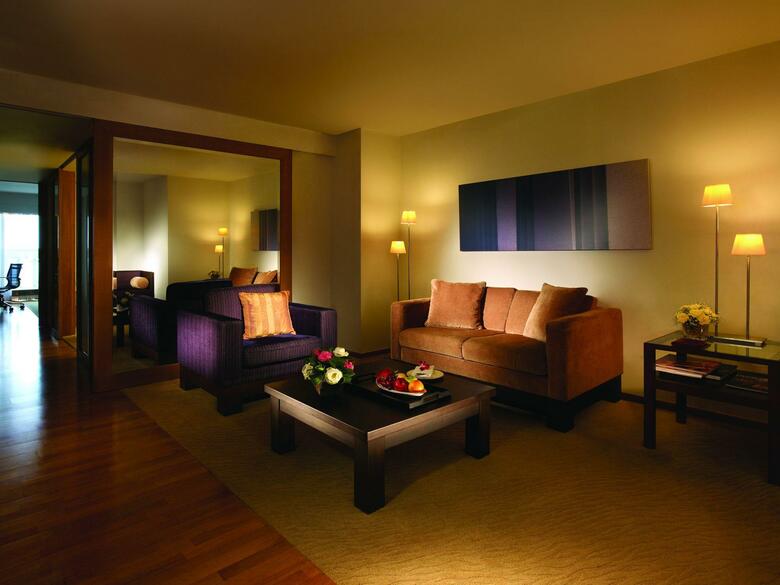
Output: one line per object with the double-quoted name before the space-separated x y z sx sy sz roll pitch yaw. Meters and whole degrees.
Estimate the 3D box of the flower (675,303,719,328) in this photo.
"flower" 2.363 0.156 4.432 0.202 0.156 0.198 0 0 -42

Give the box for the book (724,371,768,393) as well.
"book" 2.588 0.652 4.151 0.177 0.045 0.170 -6 5 -39

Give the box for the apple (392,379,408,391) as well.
"apple" 0.073 0.647 4.007 0.078 0.069 0.062 0 -2 1

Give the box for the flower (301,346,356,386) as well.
"flower" -0.444 0.495 4.145 0.288 0.208 0.285 1 -7 -26

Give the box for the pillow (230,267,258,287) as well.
"pillow" -1.600 -0.174 6.253 0.195 0.217 0.081 5 -7 -6

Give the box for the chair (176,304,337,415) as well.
"chair" -1.300 0.548 5.535 1.288 0.910 1.392 4 6 30

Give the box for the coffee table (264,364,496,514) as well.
"coffee table" -0.278 0.864 4.031 0.963 0.436 0.958 -7 8 -43

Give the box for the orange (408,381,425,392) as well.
"orange" 0.180 0.655 3.973 0.072 0.036 0.077 2 2 18

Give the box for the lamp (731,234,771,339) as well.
"lamp" 2.818 -0.051 4.560 0.225 0.822 0.482 5 8 33

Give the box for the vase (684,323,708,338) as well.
"vase" 2.325 0.293 4.372 0.114 0.094 0.115 1 -3 4

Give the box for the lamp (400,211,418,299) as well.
"lamp" 0.221 -0.442 6.881 0.176 1.063 0.486 1 7 2

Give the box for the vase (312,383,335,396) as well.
"vase" -0.459 0.670 4.061 0.131 0.080 0.102 0 -1 -4

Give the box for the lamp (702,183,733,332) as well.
"lamp" 2.656 -0.278 4.748 0.205 1.212 0.353 4 8 30
